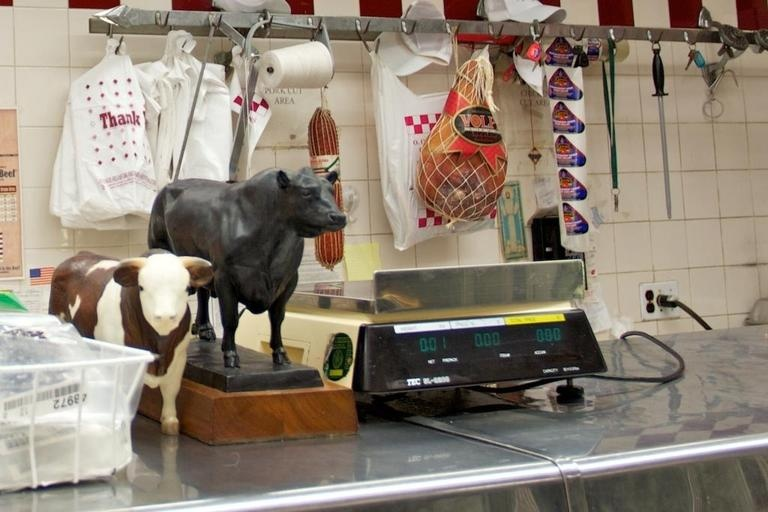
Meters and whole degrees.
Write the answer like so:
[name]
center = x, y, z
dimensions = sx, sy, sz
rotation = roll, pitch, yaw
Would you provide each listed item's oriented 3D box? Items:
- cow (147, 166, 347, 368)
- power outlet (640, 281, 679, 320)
[cow]
center = -0.208, -0.021, 1.264
dimensions = 0.267, 0.359, 0.270
rotation = -5, 7, -43
[power outlet]
center = 1.172, 0.192, 3.140
dimensions = 0.195, 0.155, 0.058
rotation = -1, 9, -17
